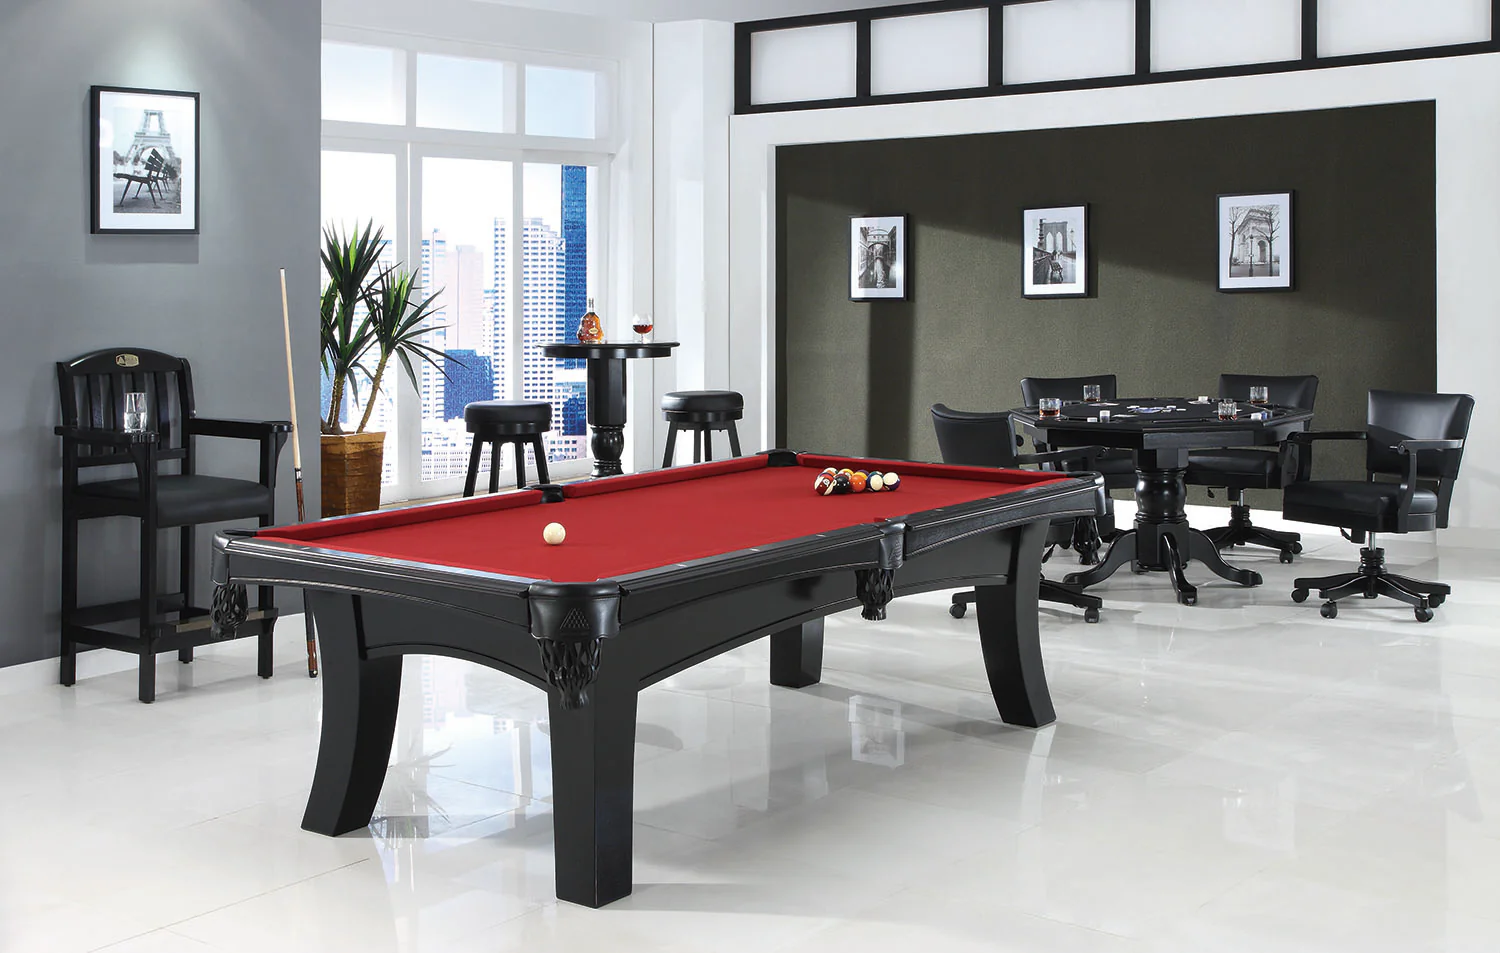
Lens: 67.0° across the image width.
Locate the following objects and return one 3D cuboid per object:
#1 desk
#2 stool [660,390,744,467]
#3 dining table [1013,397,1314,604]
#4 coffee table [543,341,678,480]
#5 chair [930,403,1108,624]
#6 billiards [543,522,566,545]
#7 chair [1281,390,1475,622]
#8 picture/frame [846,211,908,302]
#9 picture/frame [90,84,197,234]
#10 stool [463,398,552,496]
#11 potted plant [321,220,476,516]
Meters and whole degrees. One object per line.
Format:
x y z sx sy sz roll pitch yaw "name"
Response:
-0.139 0.618 4.480 3.135 1.139 1.514 -11 16 -42 "desk"
-0.352 -0.341 8.456 0.628 0.544 0.575 0 5 17 "stool"
2.612 0.171 7.263 1.673 1.039 1.634 1 2 -41 "dining table"
-1.033 -0.502 8.320 1.141 0.968 1.056 0 5 -3 "coffee table"
1.752 0.298 6.817 0.911 1.077 0.912 7 -6 7 "chair"
-0.672 0.182 3.877 0.077 0.068 0.072 20 21 -19 "billiards"
3.760 0.137 6.777 0.965 1.184 0.943 -4 7 0 "chair"
1.155 -1.980 10.121 0.872 0.975 0.087 5 8 38 "picture/frame"
-3.029 -1.575 5.667 0.560 0.692 0.095 -12 17 -41 "picture/frame"
-1.628 -0.186 7.659 0.581 0.559 0.542 -1 1 -19 "stool"
-2.986 -0.713 9.050 1.146 1.945 1.530 8 6 41 "potted plant"
